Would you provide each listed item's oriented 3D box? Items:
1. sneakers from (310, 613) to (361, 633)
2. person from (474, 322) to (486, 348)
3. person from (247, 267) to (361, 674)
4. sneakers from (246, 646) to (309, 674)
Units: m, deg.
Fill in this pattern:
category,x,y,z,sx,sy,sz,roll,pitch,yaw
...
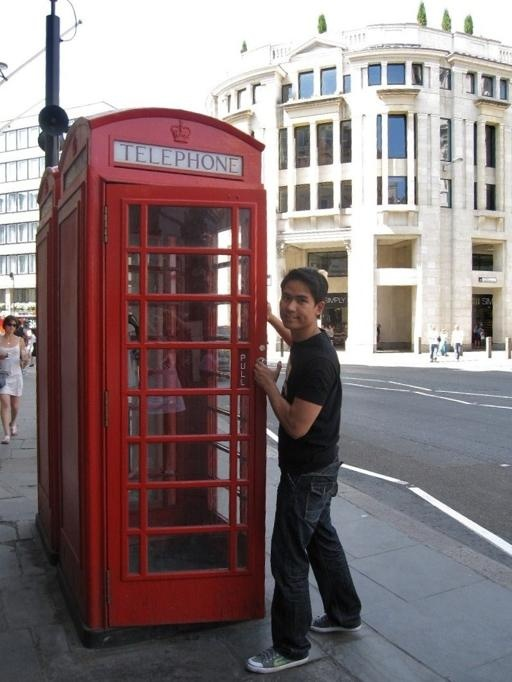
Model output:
category,x,y,z,sx,sy,sz,roll,pitch,yaw
sneakers,0.401,1.395,3.712,0.244,0.119,0.096,5,-8,8
person,11.972,-0.199,39.482,0.630,1.344,2.372,0,2,17
person,0.216,0.552,3.472,0.475,1.800,0.684,0,2,17
sneakers,0.099,1.424,3.290,0.255,0.115,0.092,8,-13,-16
